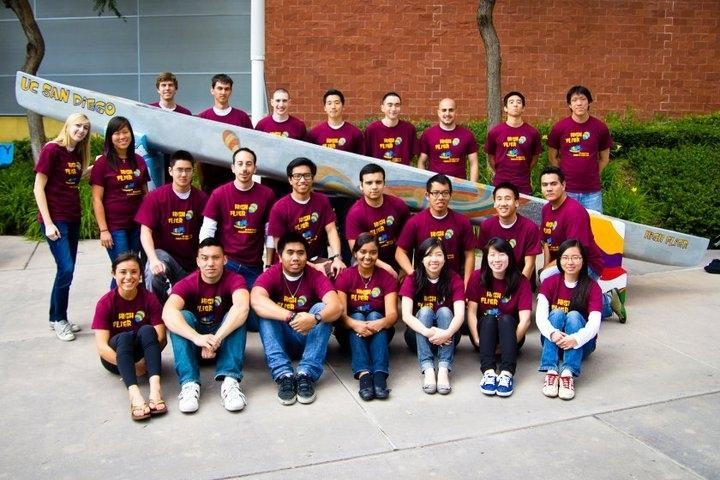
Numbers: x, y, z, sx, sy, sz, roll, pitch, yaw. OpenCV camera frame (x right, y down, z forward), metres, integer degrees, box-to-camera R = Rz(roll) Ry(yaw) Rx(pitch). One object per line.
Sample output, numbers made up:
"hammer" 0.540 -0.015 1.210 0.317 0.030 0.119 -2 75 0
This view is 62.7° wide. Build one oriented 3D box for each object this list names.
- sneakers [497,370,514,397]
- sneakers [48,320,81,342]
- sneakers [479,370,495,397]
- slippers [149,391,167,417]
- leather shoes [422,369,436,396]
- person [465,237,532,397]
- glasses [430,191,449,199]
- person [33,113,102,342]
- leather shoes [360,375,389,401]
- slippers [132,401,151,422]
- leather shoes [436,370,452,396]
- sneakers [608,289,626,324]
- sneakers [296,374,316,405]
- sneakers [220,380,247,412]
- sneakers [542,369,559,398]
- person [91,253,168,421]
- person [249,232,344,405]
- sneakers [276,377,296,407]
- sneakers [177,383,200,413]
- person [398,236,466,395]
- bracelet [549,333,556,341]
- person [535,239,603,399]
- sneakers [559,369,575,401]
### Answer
"sneakers" 1.193 1.180 4.869 0.135 0.164 0.157 3 12 12
"sneakers" -2.921 0.866 5.827 0.402 0.165 0.141 12 9 31
"sneakers" 1.068 1.174 4.905 0.132 0.164 0.155 3 12 13
"slippers" -1.569 1.264 4.560 0.152 0.114 0.410 -1 -2 -15
"leather shoes" 0.589 1.152 4.983 0.117 0.173 0.289 2 12 6
"person" 1.187 0.604 5.135 0.580 1.172 0.809 3 12 15
"glasses" 0.776 -0.447 5.739 0.171 0.070 0.056 2 12 6
"person" -2.832 -0.138 5.747 0.519 2.127 0.540 -6 13 -29
"leather shoes" 0.116 1.189 4.854 0.241 0.154 0.246 1 12 1
"slippers" -1.666 1.298 4.490 0.134 0.112 0.112 -4 12 -19
"leather shoes" 0.705 1.167 4.921 0.120 0.167 0.169 1 12 6
"sneakers" 2.711 0.678 6.257 0.156 0.410 0.140 -19 8 -24
"sneakers" -0.440 1.198 4.785 0.161 0.178 0.189 -1 12 -6
"sneakers" -0.997 1.217 4.642 0.127 0.114 0.280 -2 7 -21
"sneakers" 1.580 1.172 4.882 0.131 0.169 0.209 4 12 18
"person" -1.836 0.720 4.733 0.551 1.135 0.824 -5 13 -25
"person" -0.536 0.594 5.018 0.773 1.259 0.875 -2 12 -12
"sneakers" -0.595 1.196 4.801 0.151 0.170 0.260 -2 12 -11
"sneakers" -1.350 1.222 4.658 0.167 0.178 0.259 -3 12 -17
"person" 0.613 0.608 5.124 0.576 1.164 0.730 2 12 9
"bracelet" 1.617 0.806 4.995 0.053 0.056 0.056 4 39 -18
"person" 1.767 0.633 5.013 0.528 1.173 0.793 5 12 21
"sneakers" 1.680 1.183 4.823 0.093 0.113 0.278 1 19 10
